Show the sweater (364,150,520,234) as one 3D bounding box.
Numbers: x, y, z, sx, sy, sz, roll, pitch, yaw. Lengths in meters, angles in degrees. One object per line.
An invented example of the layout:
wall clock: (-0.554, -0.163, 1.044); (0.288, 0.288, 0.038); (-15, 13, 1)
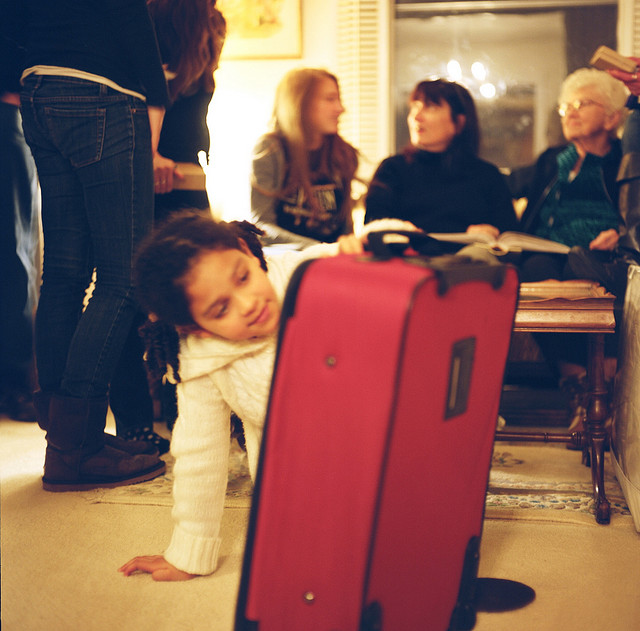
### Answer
sweater: (0.383, -0.379, 1.992); (0.485, 0.326, 0.241); (0, -6, 4)

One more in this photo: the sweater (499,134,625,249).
sweater: (0.774, -0.394, 2.035); (0.242, 0.345, 0.520); (-4, 8, -32)

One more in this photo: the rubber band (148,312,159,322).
rubber band: (-0.262, 0.001, 1.011); (0.013, 0.010, 0.019); (0, -27, -6)

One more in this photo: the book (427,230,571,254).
book: (0.420, -0.183, 1.561); (0.323, 0.050, 0.168); (-1, 6, -10)

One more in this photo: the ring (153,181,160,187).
ring: (-0.405, -0.330, 1.593); (0.013, 0.012, 0.039); (-2, 6, -16)

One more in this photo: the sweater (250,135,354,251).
sweater: (0.002, -0.316, 1.816); (0.260, 0.258, 0.156); (-3, -3, 42)

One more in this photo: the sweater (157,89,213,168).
sweater: (-0.358, -0.524, 1.790); (0.102, 0.196, 0.164); (5, 8, 38)

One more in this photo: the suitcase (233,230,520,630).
suitcase: (0.108, 0.195, 0.854); (0.415, 0.548, 0.174); (-4, 8, -32)
